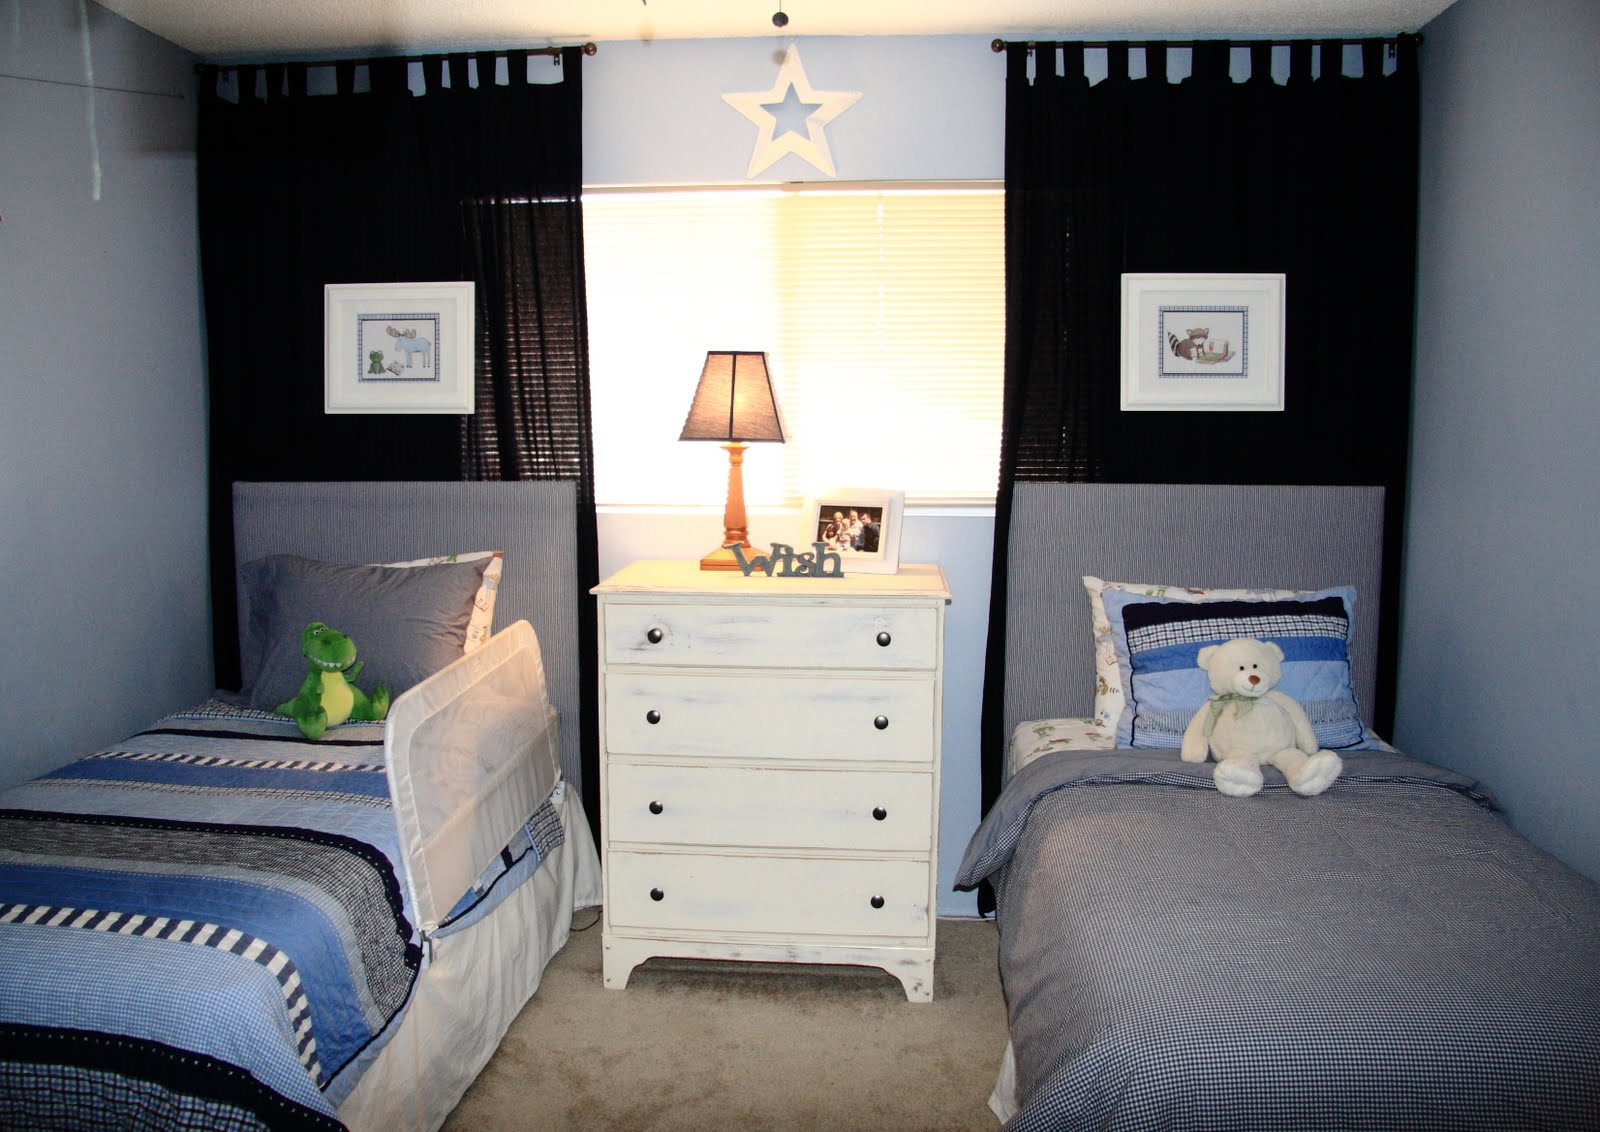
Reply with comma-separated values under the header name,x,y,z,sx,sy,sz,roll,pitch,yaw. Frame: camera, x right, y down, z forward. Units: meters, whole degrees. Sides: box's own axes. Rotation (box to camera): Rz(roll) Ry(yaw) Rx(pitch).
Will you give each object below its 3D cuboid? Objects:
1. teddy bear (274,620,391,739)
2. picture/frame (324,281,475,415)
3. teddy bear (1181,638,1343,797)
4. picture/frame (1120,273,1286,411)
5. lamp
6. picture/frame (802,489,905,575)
name,x,y,z,sx,sy,sz,roll,pitch,yaw
teddy bear,-1.416,0.335,3.960,0.354,0.433,0.368,-12,-9,41
picture/frame,-1.354,-0.766,4.267,0.428,0.398,0.032,0,3,3
teddy bear,1.284,0.430,3.653,0.394,0.448,0.441,-7,0,6
picture/frame,1.343,-0.753,4.085,0.421,0.387,0.034,0,4,3
lamp,-0.194,-0.349,4.018,0.309,0.685,0.373,2,11,16
picture/frame,0.173,-0.105,3.952,0.250,0.257,0.028,3,-10,13
